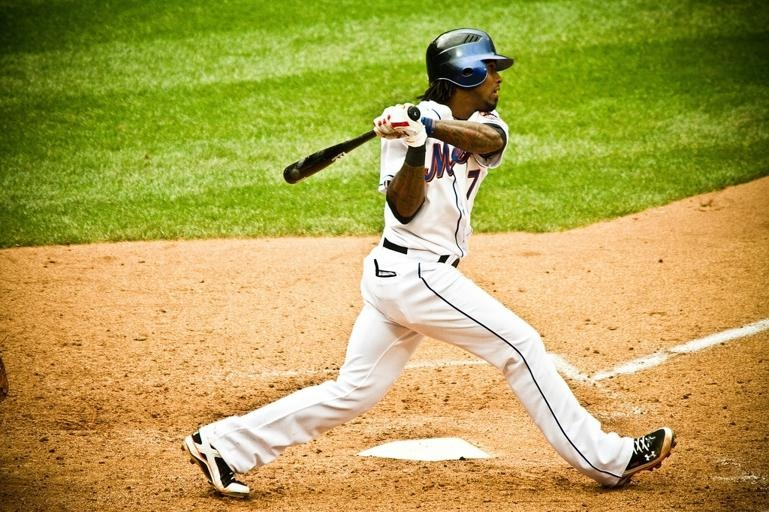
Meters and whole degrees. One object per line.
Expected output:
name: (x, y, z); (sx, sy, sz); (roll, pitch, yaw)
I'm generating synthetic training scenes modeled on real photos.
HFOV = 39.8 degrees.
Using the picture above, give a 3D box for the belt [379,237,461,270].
belt: (0.215, -0.018, 6.769); (0.322, 0.066, 0.235); (19, 0, -1)

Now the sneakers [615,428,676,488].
sneakers: (1.710, 1.332, 6.951); (0.208, 0.396, 0.140); (25, 29, -53)

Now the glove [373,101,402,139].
glove: (0.005, -0.839, 6.551); (0.109, 0.198, 0.168); (7, 7, -35)

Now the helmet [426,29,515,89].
helmet: (0.539, -1.279, 6.953); (0.621, 0.314, 0.399); (-8, 4, 6)
